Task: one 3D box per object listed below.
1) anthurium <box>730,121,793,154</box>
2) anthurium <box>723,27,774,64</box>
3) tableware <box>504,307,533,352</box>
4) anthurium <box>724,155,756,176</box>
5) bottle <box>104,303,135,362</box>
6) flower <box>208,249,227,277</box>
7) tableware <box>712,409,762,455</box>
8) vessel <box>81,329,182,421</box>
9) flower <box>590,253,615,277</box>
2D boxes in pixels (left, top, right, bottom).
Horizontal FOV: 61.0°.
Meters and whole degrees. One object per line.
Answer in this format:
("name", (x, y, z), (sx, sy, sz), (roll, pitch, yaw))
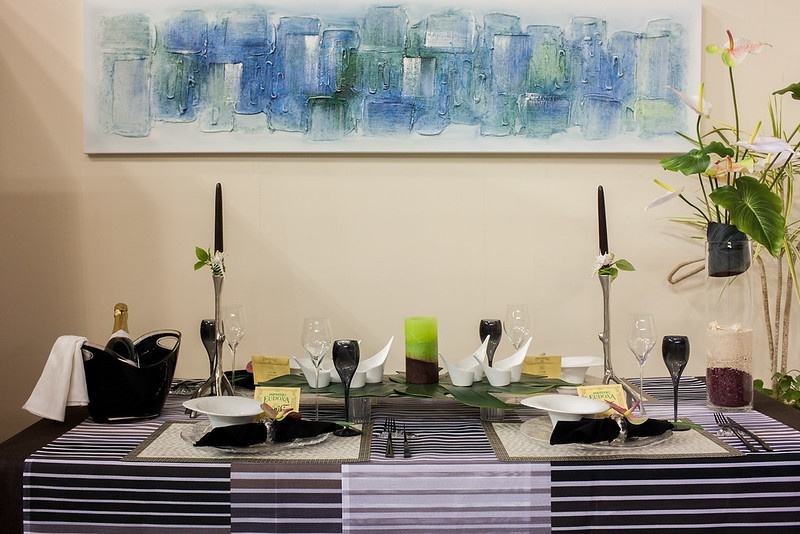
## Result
("anthurium", (1.187, -0.414, 2.226), (0.120, 0.044, 0.119), (6, -15, 6))
("anthurium", (1.184, -0.732, 2.344), (0.108, 0.114, 0.240), (1, 1, 25))
("tableware", (0.465, 0.232, 2.676), (0.096, 0.180, 0.206), (0, 1, 9))
("anthurium", (1.119, -0.326, 2.247), (0.092, 0.040, 0.093), (-1, 4, -2))
("bottle", (-0.996, 0.270, 2.409), (0.110, 0.292, 0.113), (-7, -16, -2))
("flower", (-0.674, -0.011, 2.498), (0.047, 0.091, 0.104), (0, 1, -9))
("tableware", (1.084, 0.523, 2.173), (0.047, 0.015, 0.183), (-6, 15, -5))
("vessel", (-0.954, 0.363, 2.391), (0.288, 0.264, 0.371), (3, 2, 38))
("flower", (0.765, -0.007, 2.503), (0.081, 0.087, 0.162), (0, 1, 17))
